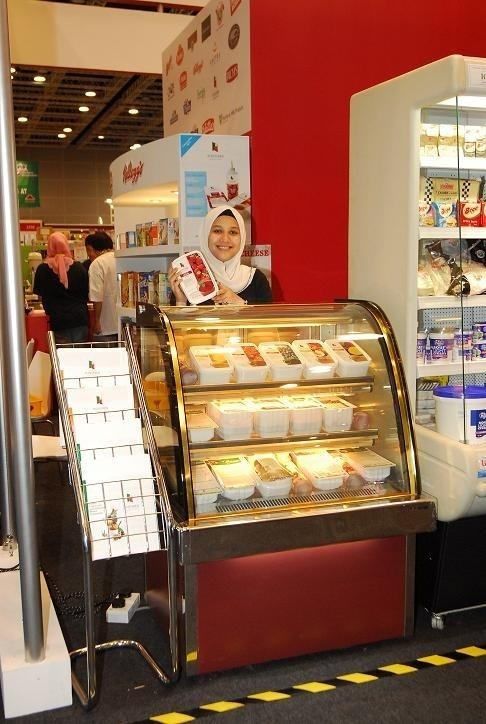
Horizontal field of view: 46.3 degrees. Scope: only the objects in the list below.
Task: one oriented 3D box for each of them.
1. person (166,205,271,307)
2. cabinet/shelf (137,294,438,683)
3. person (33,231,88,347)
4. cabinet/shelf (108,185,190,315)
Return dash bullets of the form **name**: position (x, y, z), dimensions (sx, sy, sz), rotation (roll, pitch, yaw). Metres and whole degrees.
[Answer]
- **person**: position (-0.091, -0.525, 2.835), dimensions (0.333, 0.544, 0.736), rotation (0, 1, 14)
- **cabinet/shelf**: position (0.110, 0.406, 2.347), dimensions (1.025, 1.327, 1.067), rotation (-2, 3, -7)
- **person**: position (-2.160, -0.626, 6.902), dimensions (0.748, 1.852, 0.647), rotation (-3, 20, -17)
- **cabinet/shelf**: position (-0.707, -0.884, 4.637), dimensions (0.356, 0.952, 1.058), rotation (-7, 8, -41)
